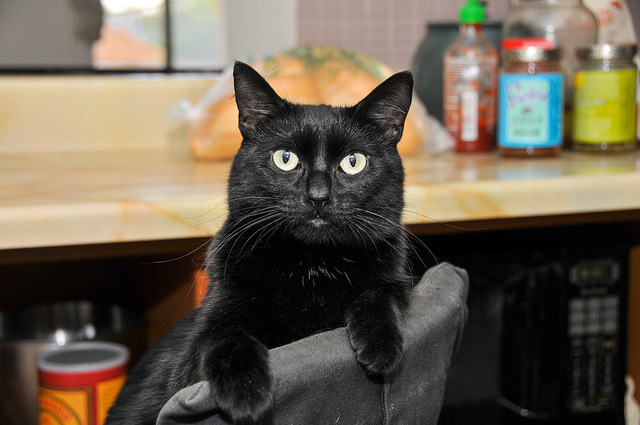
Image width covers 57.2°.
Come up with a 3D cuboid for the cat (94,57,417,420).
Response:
[{"bbox_3d":[-0.137,0.156,1.006,0.317,0.465,0.701,9,-39,-14],"label":"cat"}]

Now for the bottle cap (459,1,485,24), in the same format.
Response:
[{"bbox_3d":[0.377,-0.493,1.457,0.061,0.064,0.060,0,5,-2],"label":"bottle cap"}]

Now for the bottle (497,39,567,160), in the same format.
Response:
[{"bbox_3d":[0.503,-0.273,1.410,0.159,0.267,0.158,-4,13,1],"label":"bottle"}]
